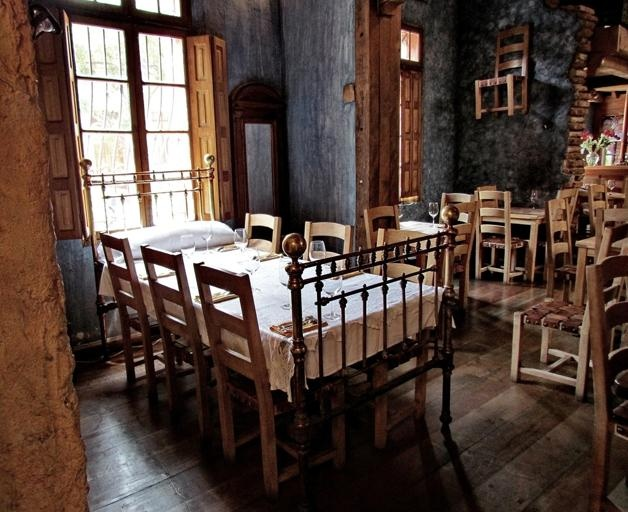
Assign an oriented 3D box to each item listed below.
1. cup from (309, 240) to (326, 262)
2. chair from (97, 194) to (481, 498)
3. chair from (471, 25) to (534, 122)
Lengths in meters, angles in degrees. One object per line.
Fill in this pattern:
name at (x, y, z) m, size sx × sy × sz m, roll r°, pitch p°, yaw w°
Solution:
cup at (0.014, -0.028, 2.625) m, size 0.092 × 0.127 × 0.092 m, roll -2°, pitch 8°, yaw 0°
chair at (-0.196, 0.287, 2.846) m, size 1.100 × 1.279 × 1.688 m, roll -11°, pitch 18°, yaw -42°
chair at (2.485, -2.455, 6.526) m, size 0.685 × 1.160 × 0.492 m, roll 4°, pitch 14°, yaw 33°
